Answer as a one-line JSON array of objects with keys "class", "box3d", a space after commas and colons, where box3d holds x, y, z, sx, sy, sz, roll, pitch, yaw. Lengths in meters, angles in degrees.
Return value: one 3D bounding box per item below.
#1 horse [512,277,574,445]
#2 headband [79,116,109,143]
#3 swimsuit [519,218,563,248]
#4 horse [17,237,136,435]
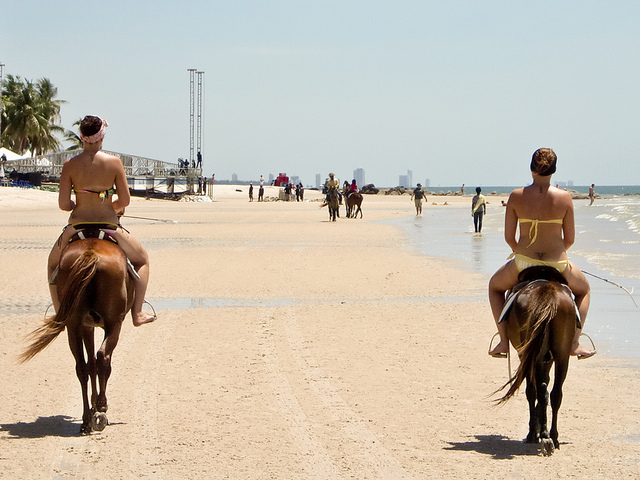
[{"class": "horse", "box3d": [2.349, 1.263, 11.021, 0.801, 1.691, 0.632, -6, 10, -43]}, {"class": "headband", "box3d": [-2.426, -1.177, 11.634, 0.279, 0.260, 0.284, -1, 8, -12]}, {"class": "swimsuit", "box3d": [2.319, -0.065, 11.188, 0.322, 0.217, 0.032, 2, 8, 17]}, {"class": "horse", "box3d": [-2.443, 1.010, 11.271, 0.921, 1.966, 0.665, -1, 7, -14]}]
